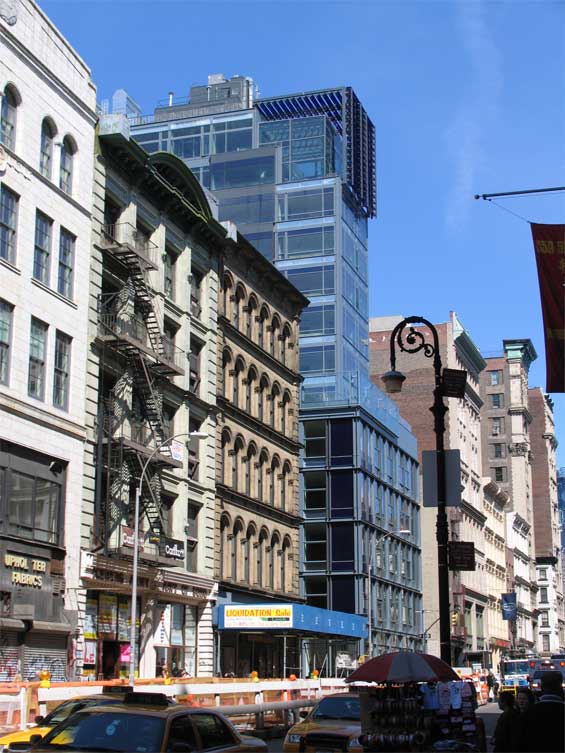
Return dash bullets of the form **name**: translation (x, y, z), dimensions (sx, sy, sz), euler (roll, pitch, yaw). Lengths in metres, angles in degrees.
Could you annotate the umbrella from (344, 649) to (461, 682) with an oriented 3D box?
- **umbrella**: translation (1.525, 4.133, 17.194), dimensions (0.865, 0.318, 0.885), euler (-15, -20, 33)
